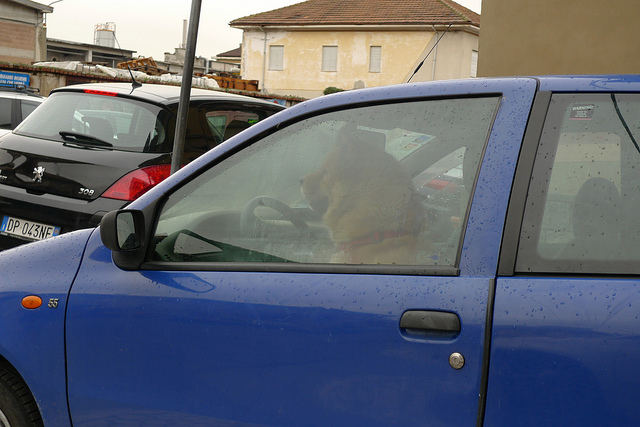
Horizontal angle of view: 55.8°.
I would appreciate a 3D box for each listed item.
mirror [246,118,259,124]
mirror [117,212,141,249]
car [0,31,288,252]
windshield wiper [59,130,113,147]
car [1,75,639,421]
[{"bbox_3d":[-0.693,-0.948,6.227,0.086,0.033,0.122,1,5,-30],"label":"mirror"},{"bbox_3d":[-0.825,0.075,2.581,0.046,0.170,0.114,-6,-4,44],"label":"mirror"},{"bbox_3d":[-1.580,-0.770,5.650,1.426,1.101,2.403,7,13,39],"label":"car"},{"bbox_3d":[-2.015,-0.644,5.178,0.589,0.084,0.069,8,2,21],"label":"windshield wiper"},{"bbox_3d":[0.107,0.151,2.655,2.138,1.049,1.279,5,4,22],"label":"car"}]
